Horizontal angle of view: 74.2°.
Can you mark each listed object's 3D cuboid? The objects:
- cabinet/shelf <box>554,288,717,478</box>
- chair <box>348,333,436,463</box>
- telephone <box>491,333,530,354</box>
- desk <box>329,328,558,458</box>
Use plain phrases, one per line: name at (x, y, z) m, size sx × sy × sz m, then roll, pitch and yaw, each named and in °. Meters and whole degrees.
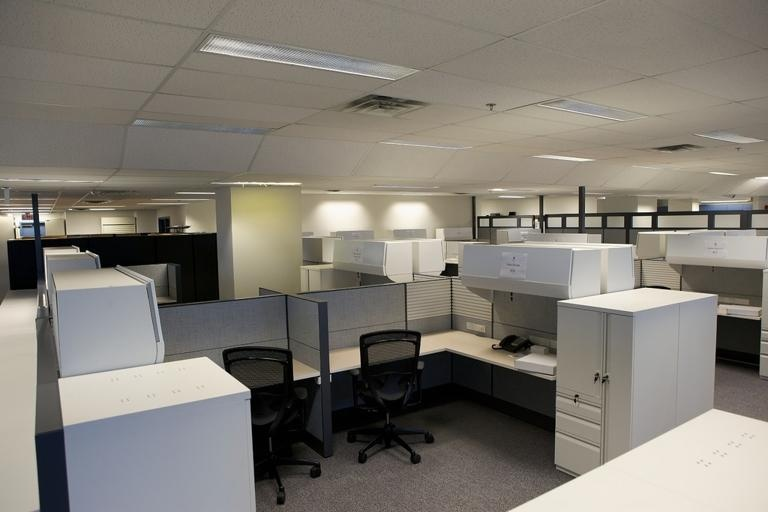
cabinet/shelf at (2.327, 1.194, 4.644) m, size 1.450 × 1.612 × 0.714 m, roll -5°, pitch 13°, yaw -15°
chair at (0.049, 1.340, 5.160) m, size 0.869 × 1.299 × 0.795 m, roll -3°, pitch 12°, yaw -5°
telephone at (1.414, 0.963, 5.645) m, size 0.419 × 0.132 × 0.306 m, roll 8°, pitch 15°, yaw 41°
desk at (0.665, 1.453, 5.722) m, size 1.454 × 0.835 × 1.422 m, roll -4°, pitch 6°, yaw -37°
